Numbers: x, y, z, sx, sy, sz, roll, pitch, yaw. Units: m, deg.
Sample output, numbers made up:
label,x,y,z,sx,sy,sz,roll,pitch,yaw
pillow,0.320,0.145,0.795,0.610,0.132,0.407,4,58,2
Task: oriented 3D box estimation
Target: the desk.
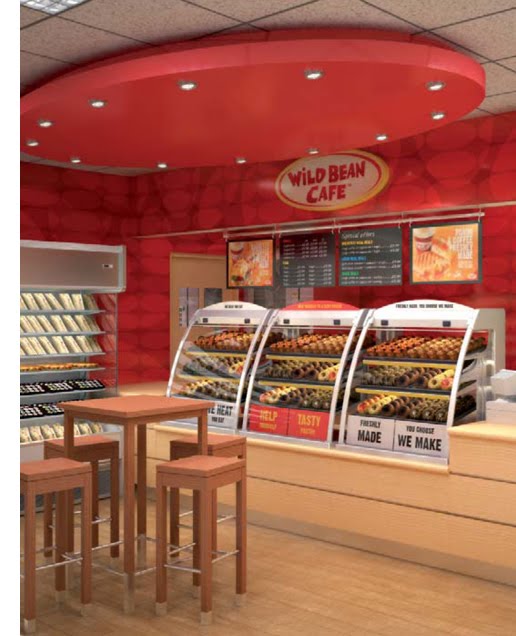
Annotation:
label,x,y,z,sx,sy,sz,roll,pitch,yaw
desk,-0.844,1.088,3.368,0.703,1.065,0.706,-18,-34,41
